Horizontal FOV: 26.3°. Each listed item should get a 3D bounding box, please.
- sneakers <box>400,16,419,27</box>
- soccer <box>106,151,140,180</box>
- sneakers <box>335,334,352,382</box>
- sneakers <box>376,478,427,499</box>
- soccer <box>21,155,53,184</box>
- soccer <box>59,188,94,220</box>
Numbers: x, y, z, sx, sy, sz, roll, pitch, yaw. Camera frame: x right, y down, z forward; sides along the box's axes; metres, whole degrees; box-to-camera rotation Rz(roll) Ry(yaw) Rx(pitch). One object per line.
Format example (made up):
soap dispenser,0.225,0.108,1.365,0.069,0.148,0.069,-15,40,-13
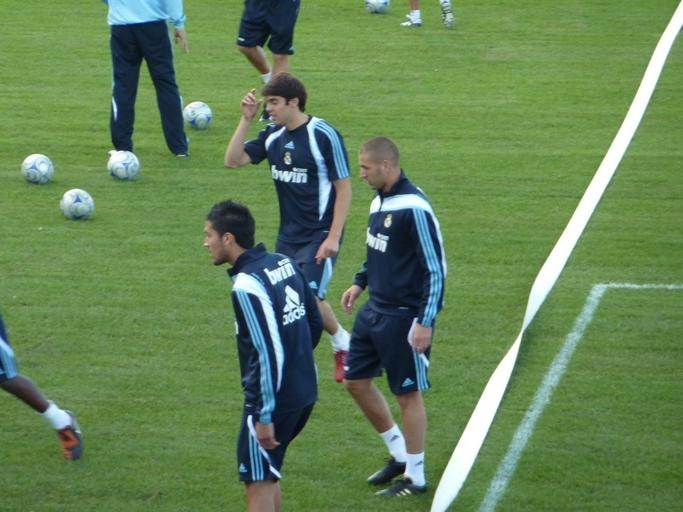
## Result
sneakers,1.066,-3.618,22.498,0.137,0.158,0.412,-4,16,-13
soccer,-2.467,-1.041,16.531,0.345,0.313,0.310,0,22,-8
sneakers,-0.006,0.954,13.544,0.152,0.402,0.185,-3,3,15
sneakers,0.536,2.011,12.666,0.497,0.168,0.158,1,-4,-5
soccer,-3.399,-0.978,16.312,0.345,0.314,0.233,-3,23,-14
soccer,-2.812,-0.562,15.595,0.366,0.319,0.215,-5,23,-18
